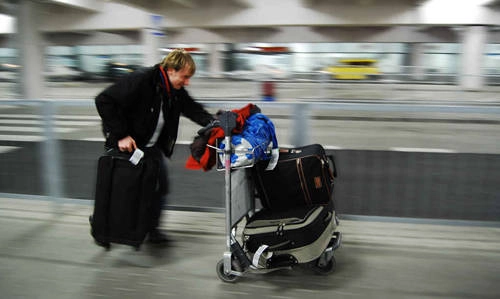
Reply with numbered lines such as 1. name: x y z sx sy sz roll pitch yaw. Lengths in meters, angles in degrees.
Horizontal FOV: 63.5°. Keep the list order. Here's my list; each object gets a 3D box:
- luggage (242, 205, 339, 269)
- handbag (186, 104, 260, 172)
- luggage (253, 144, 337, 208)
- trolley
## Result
1. luggage: 0.453 1.052 4.562 0.929 0.371 0.786 -5 16 12
2. handbag: -0.347 -0.085 4.487 0.904 0.281 0.632 -17 16 16
3. luggage: 0.484 0.326 4.863 1.000 0.598 0.503 -8 14 22
4. trolley: 0.213 0.498 4.807 1.818 1.559 1.519 -14 15 -22
